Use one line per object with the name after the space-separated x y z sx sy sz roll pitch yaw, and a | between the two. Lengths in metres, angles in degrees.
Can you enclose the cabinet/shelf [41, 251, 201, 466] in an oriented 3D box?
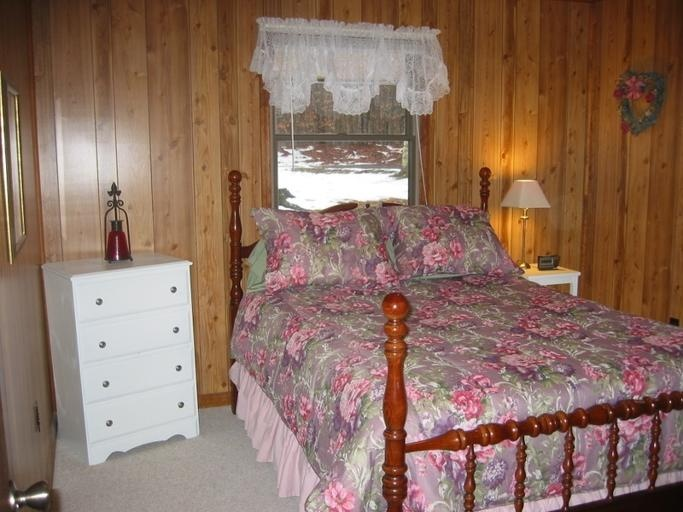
-1.250 0.556 3.477 0.783 1.053 0.461 -6 13 -24 | cabinet/shelf
